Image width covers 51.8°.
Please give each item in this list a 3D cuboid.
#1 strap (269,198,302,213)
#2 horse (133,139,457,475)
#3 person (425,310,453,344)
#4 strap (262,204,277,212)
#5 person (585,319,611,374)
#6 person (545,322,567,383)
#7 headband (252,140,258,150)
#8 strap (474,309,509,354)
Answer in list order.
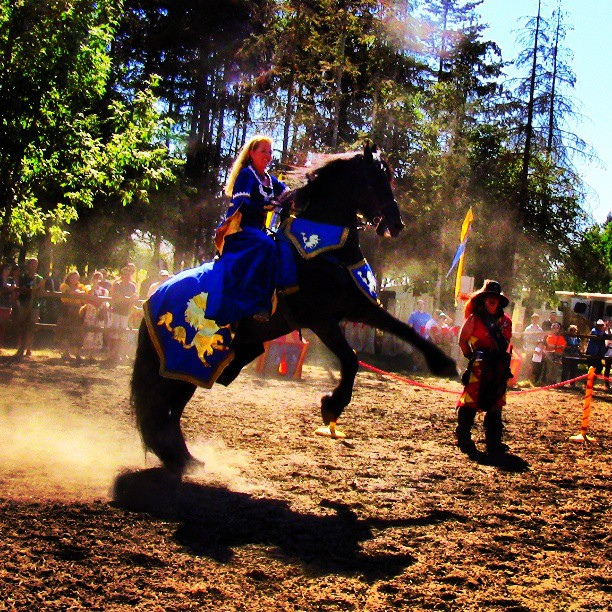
[{"bbox_3d":[-0.159,-0.807,5.034,0.268,0.028,0.022,24,-33,-18],"label":"strap"},{"bbox_3d":[-0.091,0.019,5.034,3.006,2.436,0.744,-8,-17,33],"label":"horse"},{"bbox_3d":[3.236,0.522,15.437,0.459,0.849,0.522,17,2,-8],"label":"person"},{"bbox_3d":[-0.292,-0.771,4.945,0.072,0.015,0.066,-9,-20,-12],"label":"strap"},{"bbox_3d":[6.938,1.017,15.088,0.521,1.292,1.958,8,1,24],"label":"person"},{"bbox_3d":[5.714,1.085,14.576,0.472,1.385,0.683,8,0,20],"label":"person"},{"bbox_3d":[-0.412,-1.272,4.993,0.016,0.057,0.065,17,-13,-32],"label":"headband"},{"bbox_3d":[1.983,0.267,6.815,0.387,0.464,0.110,7,0,13],"label":"strap"}]
